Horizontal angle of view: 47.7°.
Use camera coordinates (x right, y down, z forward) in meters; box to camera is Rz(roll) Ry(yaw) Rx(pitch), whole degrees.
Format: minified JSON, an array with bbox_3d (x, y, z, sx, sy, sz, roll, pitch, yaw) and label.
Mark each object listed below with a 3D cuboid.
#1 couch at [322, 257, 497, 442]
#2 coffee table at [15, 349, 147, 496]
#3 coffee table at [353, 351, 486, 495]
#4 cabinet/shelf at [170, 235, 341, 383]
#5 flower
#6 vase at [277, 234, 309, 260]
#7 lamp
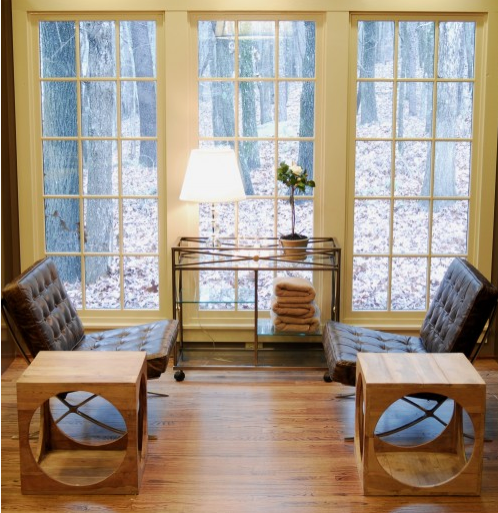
[{"bbox_3d":[0.709,0.429,3.120,0.933,1.047,0.742,0,12,4],"label":"couch"},{"bbox_3d":[-0.653,0.637,2.501,0.537,0.562,0.557,0,4,-2],"label":"coffee table"},{"bbox_3d":[0.697,0.641,2.497,0.523,0.563,0.555,-1,4,1],"label":"coffee table"},{"bbox_3d":[0.048,0.319,3.561,0.821,0.733,0.301,0,6,-1],"label":"cabinet/shelf"},{"bbox_3d":[0.308,-0.369,3.641,0.250,0.481,0.497,0,10,3],"label":"flower"},{"bbox_3d":[0.285,-0.065,3.580,0.177,0.141,0.229,0,10,3],"label":"vase"},{"bbox_3d":[-0.205,-0.380,3.372,0.425,0.827,0.438,-2,14,-7],"label":"lamp"}]
